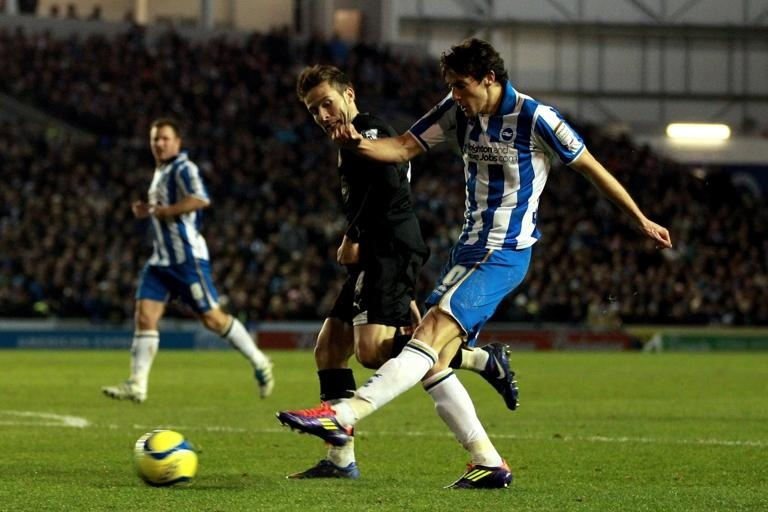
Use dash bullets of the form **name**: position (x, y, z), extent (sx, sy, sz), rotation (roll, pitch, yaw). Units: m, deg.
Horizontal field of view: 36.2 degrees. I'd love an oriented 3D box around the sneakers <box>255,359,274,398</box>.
- **sneakers**: position (-1.867, 1.919, 18.288), extent (0.226, 0.642, 0.292), rotation (-1, 3, 35)
